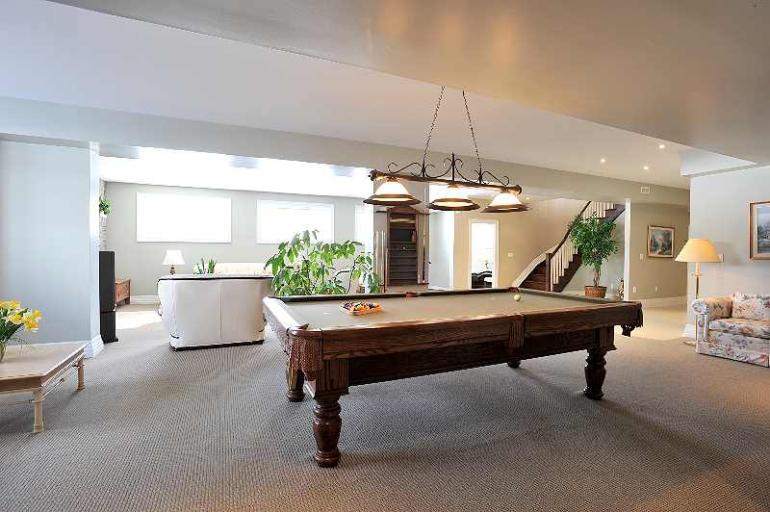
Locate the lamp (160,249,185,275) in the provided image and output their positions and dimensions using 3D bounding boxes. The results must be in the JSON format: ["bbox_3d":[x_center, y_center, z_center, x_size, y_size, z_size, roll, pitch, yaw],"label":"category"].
[{"bbox_3d":[-4.488,0.127,10.145,0.337,0.567,1.098,-4,7,-22],"label":"lamp"}]

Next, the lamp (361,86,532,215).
[{"bbox_3d":[0.766,-1.355,5.343,1.789,1.579,0.465,4,-4,-8],"label":"lamp"}]

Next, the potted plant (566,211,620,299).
[{"bbox_3d":[4.698,0.093,10.718,1.153,1.685,0.964,4,-12,-22],"label":"potted plant"}]

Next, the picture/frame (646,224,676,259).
[{"bbox_3d":[6.199,-0.330,10.676,1.116,0.762,0.125,-5,9,-35],"label":"picture/frame"}]

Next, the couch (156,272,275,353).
[{"bbox_3d":[-2.566,0.817,7.151,1.675,1.031,0.933,1,-4,-39],"label":"couch"}]

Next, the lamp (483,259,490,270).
[{"bbox_3d":[3.088,0.222,14.425,0.176,0.278,0.527,0,6,9],"label":"lamp"}]
